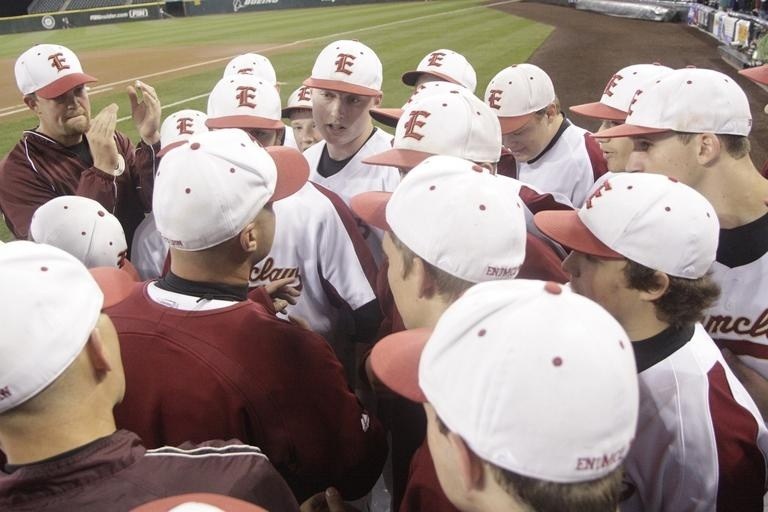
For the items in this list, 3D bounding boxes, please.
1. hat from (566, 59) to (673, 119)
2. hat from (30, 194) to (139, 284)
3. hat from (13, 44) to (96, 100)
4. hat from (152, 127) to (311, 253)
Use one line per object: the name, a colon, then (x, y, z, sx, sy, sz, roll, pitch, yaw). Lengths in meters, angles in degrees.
hat: (2.100, -1.446, 6.494, 0.767, 0.412, 0.535, 4, 21, -1)
hat: (-2.012, -0.183, 4.877, 0.764, 0.376, 0.487, 33, 11, -31)
hat: (-3.053, -1.631, 6.620, 0.656, 0.388, 0.480, 4, 21, 23)
hat: (-0.883, -0.451, 4.289, 0.572, 0.483, 0.905, 32, 59, 32)
